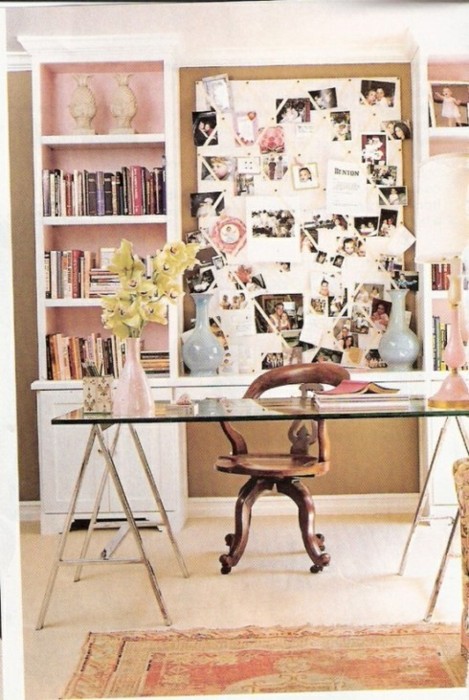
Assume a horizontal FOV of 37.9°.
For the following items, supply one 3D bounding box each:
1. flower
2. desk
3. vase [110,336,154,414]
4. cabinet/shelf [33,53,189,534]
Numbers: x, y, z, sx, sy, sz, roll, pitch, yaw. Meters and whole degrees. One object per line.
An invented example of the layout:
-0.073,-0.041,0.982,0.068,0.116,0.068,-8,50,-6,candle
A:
-0.305,-0.208,2.363,0.234,0.299,0.162,10,19,3,flower
0.022,0.551,2.520,1.467,0.779,0.819,-2,3,3,desk
-0.344,0.090,2.334,0.146,0.270,0.139,-6,11,-26,vase
-0.670,-0.212,3.646,0.967,2.411,0.571,-1,15,-14,cabinet/shelf
